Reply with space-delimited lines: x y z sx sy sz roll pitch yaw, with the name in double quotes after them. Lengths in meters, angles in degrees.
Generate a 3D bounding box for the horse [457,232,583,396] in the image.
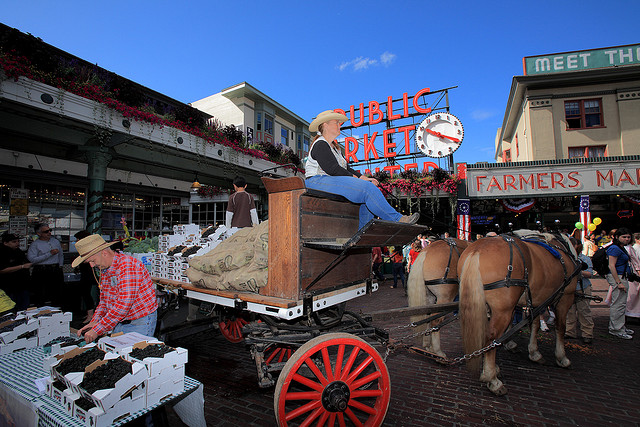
4.766 2.060 9.199 4.550 3.305 1.384 1 -2 -33 "horse"

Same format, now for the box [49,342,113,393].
-4.025 2.460 6.662 0.672 0.744 0.635 -1 0 7 "box"

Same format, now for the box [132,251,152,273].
-4.097 1.114 9.295 0.466 0.436 0.439 1 -7 -36 "box"

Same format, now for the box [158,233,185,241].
-3.406 0.550 9.252 0.373 0.139 0.282 1 0 31 "box"

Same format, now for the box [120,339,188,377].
-2.760 2.374 6.712 0.867 0.283 0.620 4 5 35 "box"

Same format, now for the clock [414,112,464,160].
6.032 -3.983 20.608 2.232 2.191 0.879 4 15 15 "clock"

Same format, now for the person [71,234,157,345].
-3.909 1.441 7.739 1.266 2.058 0.941 -1 15 -3 "person"

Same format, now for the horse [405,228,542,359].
4.816 2.158 10.577 1.456 3.759 5.831 -7 -9 42 "horse"

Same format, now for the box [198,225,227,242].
-2.335 0.434 8.985 0.314 0.180 0.496 -4 4 29 "box"
